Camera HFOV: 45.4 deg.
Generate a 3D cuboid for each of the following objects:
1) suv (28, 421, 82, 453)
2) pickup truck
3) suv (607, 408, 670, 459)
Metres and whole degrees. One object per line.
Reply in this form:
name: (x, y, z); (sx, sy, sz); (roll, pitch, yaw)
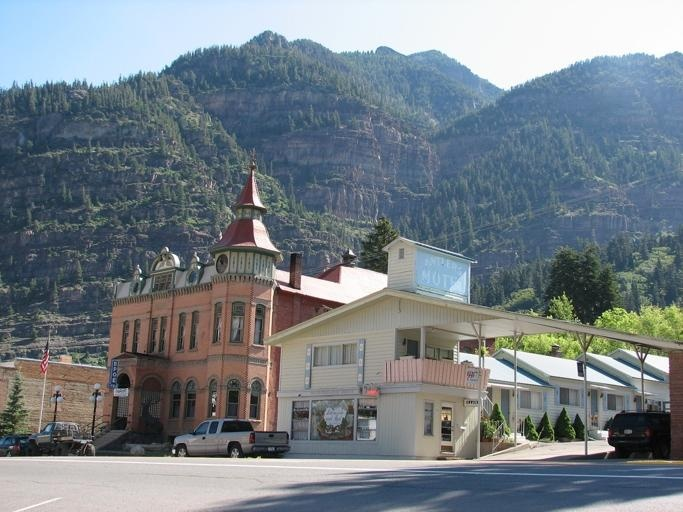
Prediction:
suv: (-16.756, 10.951, 48.526); (2.492, 1.473, 1.776); (13, -21, -36)
pickup truck: (-5.615, 9.402, 41.357); (4.820, 1.767, 2.442); (-4, -14, 29)
suv: (14.594, 8.522, 39.144); (1.720, 1.545, 3.239); (-6, -9, 36)
